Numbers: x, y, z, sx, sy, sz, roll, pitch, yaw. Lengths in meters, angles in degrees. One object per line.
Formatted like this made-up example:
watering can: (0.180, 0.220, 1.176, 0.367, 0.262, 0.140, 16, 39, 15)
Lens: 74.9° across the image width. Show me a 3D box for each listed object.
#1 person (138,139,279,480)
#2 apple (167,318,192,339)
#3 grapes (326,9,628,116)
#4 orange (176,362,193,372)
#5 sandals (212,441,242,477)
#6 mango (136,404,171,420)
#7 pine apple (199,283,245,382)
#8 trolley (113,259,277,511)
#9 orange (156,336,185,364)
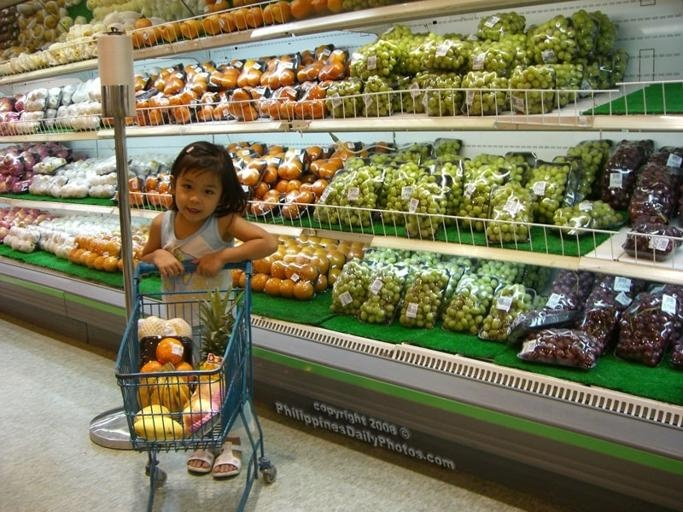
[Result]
person: (-0.666, 0.260, 2.424, 0.668, 1.708, 0.666, -1, 16, 0)
apple: (-0.684, 0.306, 1.896, 0.086, 0.084, 0.078, 10, -25, -36)
grapes: (0.728, -0.985, 2.293, 0.713, 0.275, 0.820, 14, 30, 40)
orange: (-0.606, 0.425, 1.716, 0.037, 0.038, 0.044, -4, -16, -2)
sandals: (-0.561, 0.993, 2.196, 0.098, 0.087, 0.205, -1, -5, 1)
mango: (-0.670, 0.543, 1.578, 0.089, 0.051, 0.068, -2, -5, -3)
pine apple: (-0.526, 0.312, 1.857, 0.222, 0.425, 0.197, 5, 14, -1)
trolley: (-0.548, 0.615, 1.850, 0.521, 1.097, 0.655, 0, 15, 6)
orange: (-0.666, 0.361, 1.753, 0.093, 0.096, 0.093, 1, 2, -1)
